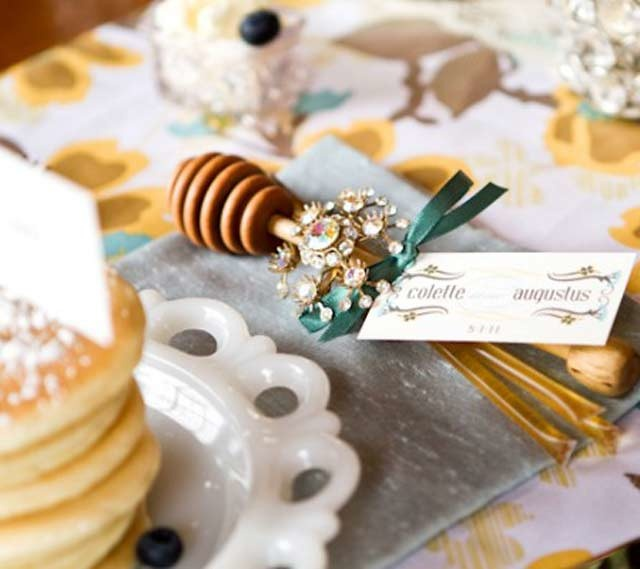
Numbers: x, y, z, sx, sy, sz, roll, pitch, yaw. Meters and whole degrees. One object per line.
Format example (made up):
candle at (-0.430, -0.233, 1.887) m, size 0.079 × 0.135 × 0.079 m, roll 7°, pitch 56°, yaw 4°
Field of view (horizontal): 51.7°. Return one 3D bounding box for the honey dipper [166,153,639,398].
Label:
honey dipper at (0.069, -0.019, 0.707) m, size 0.454 × 0.118 × 0.194 m, roll 24°, pitch 82°, yaw 33°

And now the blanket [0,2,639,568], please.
blanket at (0.067, -0.089, 0.667) m, size 0.724 × 0.037 × 0.615 m, roll 17°, pitch 42°, yaw 21°

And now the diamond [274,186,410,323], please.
diamond at (0.039, -0.025, 0.699) m, size 0.147 × 0.047 × 0.134 m, roll 7°, pitch 59°, yaw 32°
